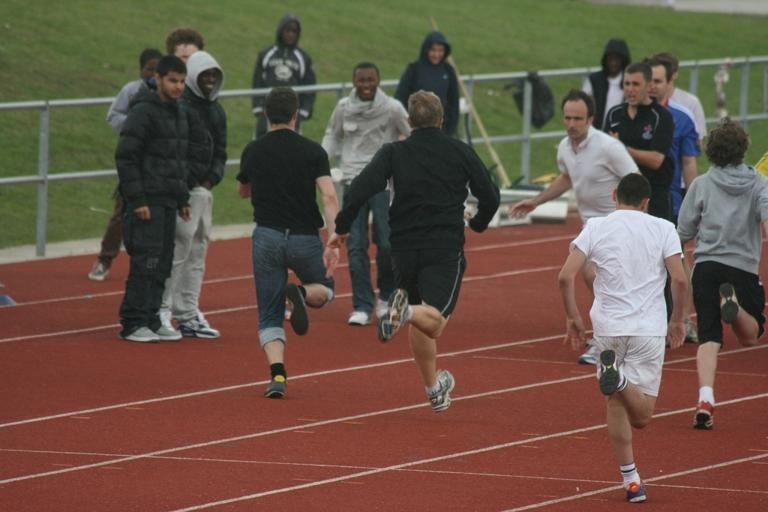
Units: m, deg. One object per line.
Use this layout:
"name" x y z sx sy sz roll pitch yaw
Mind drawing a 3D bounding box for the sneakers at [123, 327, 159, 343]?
"sneakers" -2.555 0.837 14.494 0.364 0.133 0.148 -1 -1 12

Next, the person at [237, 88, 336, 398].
"person" -0.965 -0.223 13.182 0.926 2.660 0.843 2 16 0

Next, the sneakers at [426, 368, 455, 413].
"sneakers" 0.530 1.252 12.796 0.188 0.192 0.412 0 52 22

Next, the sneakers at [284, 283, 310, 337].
"sneakers" -0.796 0.505 13.207 0.193 0.490 0.222 -13 6 23

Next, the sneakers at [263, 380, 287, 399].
"sneakers" -1.040 1.244 13.213 0.194 0.212 0.237 1 15 -5

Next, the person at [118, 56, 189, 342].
"person" -2.404 -0.429 14.353 0.735 2.683 0.465 -1 16 -11

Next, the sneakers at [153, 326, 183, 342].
"sneakers" -2.265 0.819 14.578 0.254 0.093 0.149 4 5 33

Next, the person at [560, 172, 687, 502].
"person" 1.996 0.637 11.854 1.091 2.556 1.245 5 16 11

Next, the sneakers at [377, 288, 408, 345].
"sneakers" 0.077 0.522 12.417 0.213 0.489 0.216 18 5 -4

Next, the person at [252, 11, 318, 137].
"person" -1.388 -2.114 18.930 1.005 2.262 0.655 2 6 -8

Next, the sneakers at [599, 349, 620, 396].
"sneakers" 1.841 0.961 11.414 0.174 0.338 0.158 -1 21 4

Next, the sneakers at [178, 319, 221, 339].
"sneakers" -1.982 0.784 14.825 0.515 0.205 0.173 3 2 -2

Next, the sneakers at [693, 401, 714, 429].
"sneakers" 2.899 1.442 12.582 0.169 0.305 0.251 6 16 13

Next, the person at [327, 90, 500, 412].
"person" 0.288 -0.029 12.726 1.490 2.832 1.148 2 16 1

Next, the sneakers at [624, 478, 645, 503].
"sneakers" 2.085 1.962 11.509 0.102 0.108 0.249 -1 4 13
